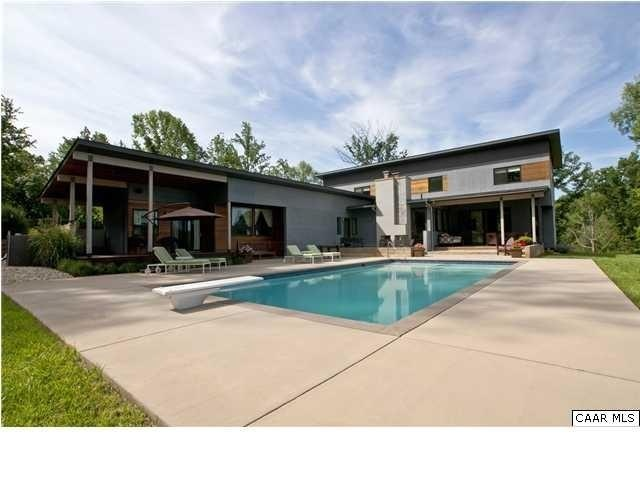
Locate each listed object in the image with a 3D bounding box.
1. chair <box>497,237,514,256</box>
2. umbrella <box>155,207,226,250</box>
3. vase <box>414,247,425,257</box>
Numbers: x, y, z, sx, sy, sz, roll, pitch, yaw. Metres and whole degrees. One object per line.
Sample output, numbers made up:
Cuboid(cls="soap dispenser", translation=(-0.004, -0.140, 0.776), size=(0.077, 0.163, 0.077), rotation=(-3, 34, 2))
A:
Cuboid(cls="chair", translation=(8.172, 0.294, 17.699), size=(1.018, 0.778, 1.039), rotation=(-1, -3, 33))
Cuboid(cls="umbrella", translation=(-4.351, -0.815, 13.749), size=(1.740, 1.198, 1.654), rotation=(0, -4, 3))
Cuboid(cls="vase", translation=(4.558, 0.530, 18.406), size=(0.494, 0.370, 0.432), rotation=(-3, 12, -4))
